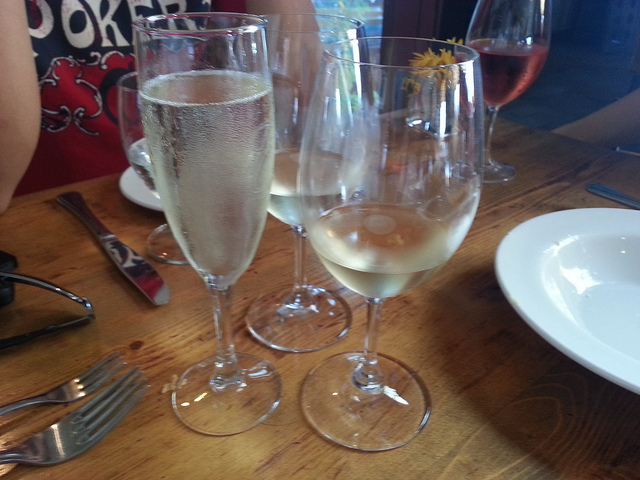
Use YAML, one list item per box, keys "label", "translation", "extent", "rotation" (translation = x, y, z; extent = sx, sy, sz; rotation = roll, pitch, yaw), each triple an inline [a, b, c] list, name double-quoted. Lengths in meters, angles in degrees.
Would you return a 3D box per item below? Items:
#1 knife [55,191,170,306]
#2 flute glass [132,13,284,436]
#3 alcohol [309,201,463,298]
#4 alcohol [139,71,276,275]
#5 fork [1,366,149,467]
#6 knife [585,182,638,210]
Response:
- label: "knife"
  translation: [-0.277, 0.002, 0.718]
  extent: [0.033, 0.012, 0.281]
  rotation: [-46, 60, -9]
- label: "flute glass"
  translation: [-0.108, 0.000, 0.542]
  extent: [0.203, 0.395, 0.155]
  rotation: [3, 22, -15]
- label: "alcohol"
  translation: [0.063, 0.000, 0.534]
  extent: [0.127, 0.087, 0.109]
  rotation: [-3, 14, -19]
- label: "alcohol"
  translation: [-0.091, -0.065, 0.505]
  extent: [0.111, 0.164, 0.100]
  rotation: [-9, 29, -28]
- label: "fork"
  translation: [-0.228, 0.166, 0.512]
  extent: [0.125, 0.051, 0.102]
  rotation: [3, 15, 2]
- label: "knife"
  translation: [0.473, -0.074, 0.862]
  extent: [0.025, 0.007, 0.094]
  rotation: [-30, 30, -17]
